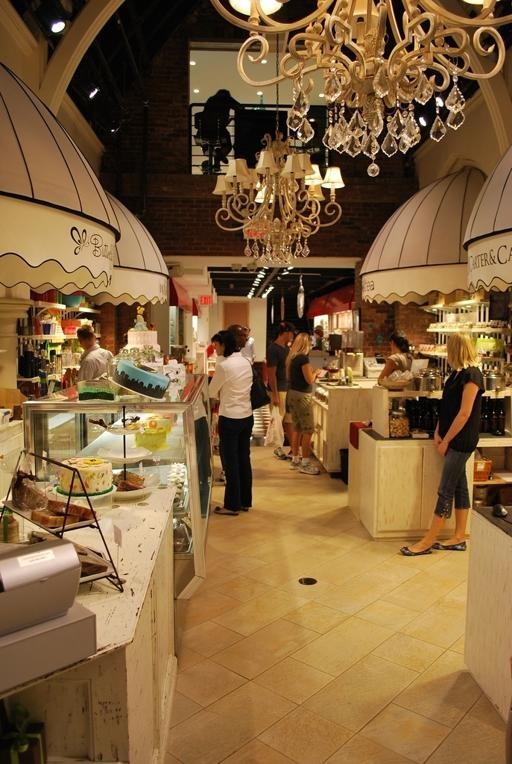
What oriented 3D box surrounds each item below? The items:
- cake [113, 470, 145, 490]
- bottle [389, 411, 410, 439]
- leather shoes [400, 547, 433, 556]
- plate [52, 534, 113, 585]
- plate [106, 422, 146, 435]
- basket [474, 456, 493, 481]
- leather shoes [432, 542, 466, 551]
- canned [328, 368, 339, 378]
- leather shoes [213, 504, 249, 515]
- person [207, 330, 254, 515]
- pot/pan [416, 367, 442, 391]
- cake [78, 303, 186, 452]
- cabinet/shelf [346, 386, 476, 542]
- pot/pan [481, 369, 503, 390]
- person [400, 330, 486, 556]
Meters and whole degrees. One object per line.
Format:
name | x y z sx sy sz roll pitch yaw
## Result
cake | -0.531 0.418 2.313 0.080 0.024 0.083 8 22 -22
bottle | 1.144 0.332 4.323 0.172 0.264 0.182 0 6 0
leather shoes | 1.190 1.262 4.049 0.178 0.033 0.087 0 -4 -6
plate | -0.434 0.485 1.445 0.173 0.067 0.160 11 -1 -20
plate | -0.626 0.216 2.578 0.160 0.049 0.115 0 3 7
basket | 1.828 0.709 4.389 0.135 0.169 0.238 1 0 9
leather shoes | 1.470 1.251 4.133 0.238 0.078 0.093 4 -4 4
canned | 1.089 -0.142 7.605 0.137 0.069 0.178 0 -4 -1
leather shoes | -0.227 1.193 5.055 0.310 0.132 0.111 4 -3 7
person | -0.210 0.375 4.881 0.359 1.689 0.631 0 3 -1
pot/pan | 1.390 -0.020 4.360 0.132 0.171 0.187 0 1 1
cake | -0.583 -0.075 2.979 0.490 0.698 0.764 2 0 -4
cabinet/shelf | 1.412 0.649 4.817 1.018 1.581 1.080 0 -2 -1
pot/pan | 1.869 -0.016 4.369 0.178 0.179 0.181 -1 0 -30
person | 1.386 0.465 3.966 0.525 1.635 0.471 3 4 36
